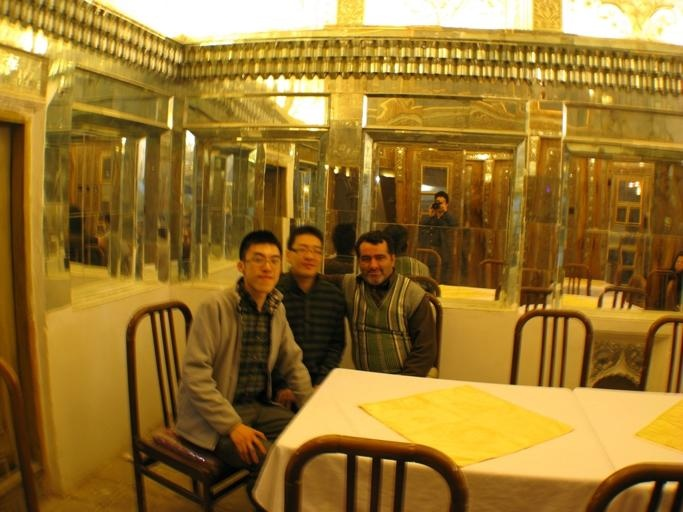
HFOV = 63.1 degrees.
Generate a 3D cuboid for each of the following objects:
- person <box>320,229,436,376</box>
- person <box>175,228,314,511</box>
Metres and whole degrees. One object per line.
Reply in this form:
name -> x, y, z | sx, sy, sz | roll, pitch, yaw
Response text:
person -> 0.281, 0.382, 3.403 | 0.810, 1.157, 0.631 | -4, -8, 15
person -> -0.413, 0.541, 2.641 | 0.698, 1.308, 0.552 | 2, -3, 32
